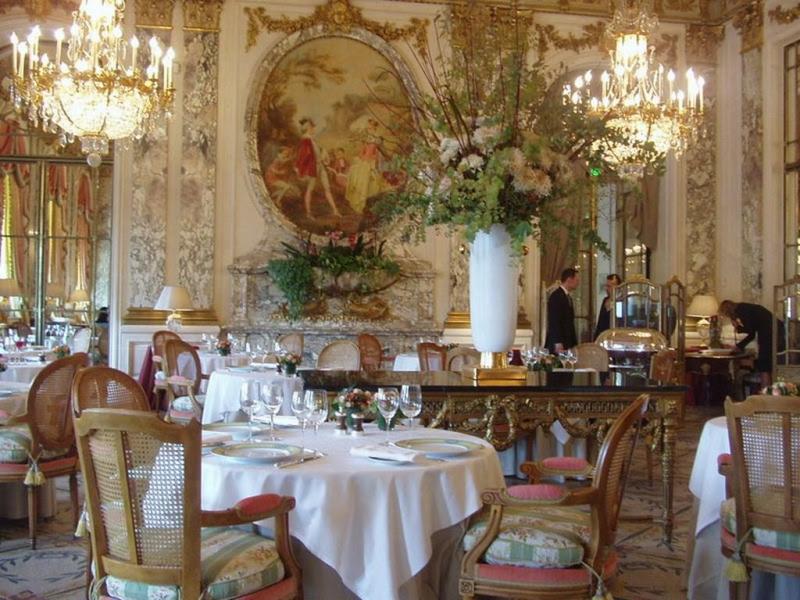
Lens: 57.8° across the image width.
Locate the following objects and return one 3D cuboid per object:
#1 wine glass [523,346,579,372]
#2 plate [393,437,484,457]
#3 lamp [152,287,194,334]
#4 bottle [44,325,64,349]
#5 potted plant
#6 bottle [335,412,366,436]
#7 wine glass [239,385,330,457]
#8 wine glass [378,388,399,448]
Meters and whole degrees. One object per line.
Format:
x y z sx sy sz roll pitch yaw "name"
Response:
1.212 0.496 6.077 0.273 0.130 0.266 -1 -1 42 "wine glass"
0.172 0.671 3.306 0.378 0.060 0.298 3 -5 -32 "plate"
-2.969 0.124 9.555 0.485 0.614 0.495 3 -5 -44 "lamp"
-5.006 0.507 10.477 0.281 0.537 0.051 0 6 -4 "bottle"
-0.877 -0.262 10.223 1.872 1.363 0.789 1 -15 10 "potted plant"
-0.246 0.604 3.550 0.148 0.109 0.141 0 -4 0 "bottle"
-0.544 0.573 3.407 0.315 0.224 0.112 -3 -5 31 "wine glass"
-0.068 0.531 3.495 0.106 0.217 0.290 0 -4 -5 "wine glass"
